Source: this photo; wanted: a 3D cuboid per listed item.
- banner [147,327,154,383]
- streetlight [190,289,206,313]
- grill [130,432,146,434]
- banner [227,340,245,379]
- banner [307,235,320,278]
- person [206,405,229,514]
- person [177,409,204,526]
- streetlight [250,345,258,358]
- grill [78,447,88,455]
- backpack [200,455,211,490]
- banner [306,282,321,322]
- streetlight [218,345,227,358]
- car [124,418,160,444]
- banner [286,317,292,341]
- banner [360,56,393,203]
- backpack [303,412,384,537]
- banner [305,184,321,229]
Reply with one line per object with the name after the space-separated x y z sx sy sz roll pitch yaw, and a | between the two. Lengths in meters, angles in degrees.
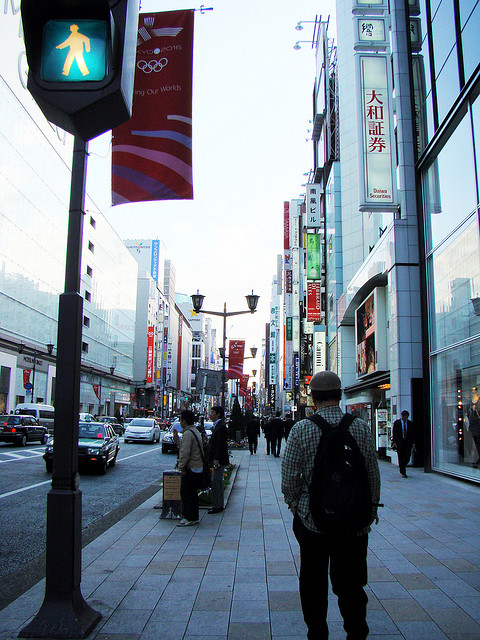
-15.408 5.943 85.072 0.888 9.570 3.452 2 -6 -12 | banner
-1.568 -0.718 18.356 0.392 0.509 1.011 1 -9 -5 | streetlight
-6.390 7.196 31.579 0.755 0.089 0.136 -2 -9 12 | grill
-0.185 1.764 22.651 0.689 1.884 1.960 0 -8 1 | banner
6.078 -5.251 41.363 1.172 5.161 0.376 -1 -33 8 | banner
-0.405 2.529 8.999 0.355 1.934 0.864 1 -6 -4 | person
-0.785 2.326 7.858 0.457 1.779 0.469 3 -6 -22 | person
0.812 1.855 29.399 0.328 0.728 0.449 -1 -10 10 | streetlight
-4.763 3.972 15.061 0.229 0.219 0.224 1 -8 0 | grill
-0.546 2.423 7.819 0.070 0.460 0.257 -1 -6 18 | backpack
6.018 -1.548 40.362 1.113 3.252 0.957 0 -6 7 | banner
-0.689 1.341 20.980 0.266 0.751 0.305 2 -8 -11 | streetlight
-6.490 7.354 32.664 1.814 1.653 2.366 -1 -9 8 | car
6.647 1.072 67.496 0.881 2.874 0.663 -2 -6 18 | banner
4.969 -7.024 18.118 1.037 5.571 0.327 -1 -6 14 | banner
0.489 0.749 2.393 0.328 0.592 0.331 1 -7 -5 | backpack
6.189 -9.731 42.016 1.219 4.452 2.168 -1 -7 11 | banner
